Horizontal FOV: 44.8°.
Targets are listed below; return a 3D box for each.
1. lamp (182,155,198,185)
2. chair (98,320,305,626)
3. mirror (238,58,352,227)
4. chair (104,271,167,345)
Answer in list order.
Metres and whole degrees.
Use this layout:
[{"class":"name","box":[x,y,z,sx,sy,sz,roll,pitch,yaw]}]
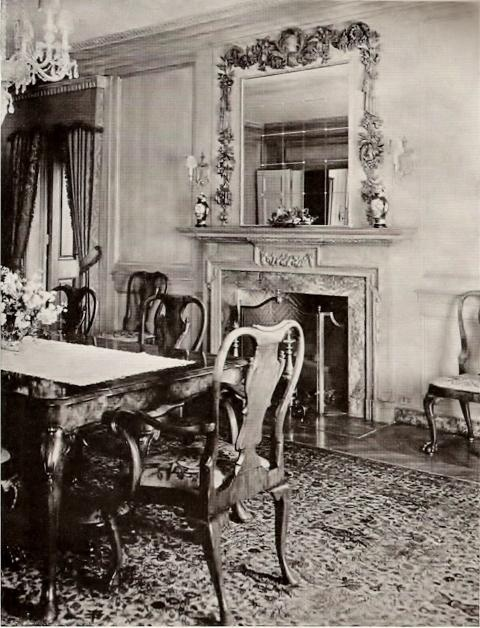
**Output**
[{"class":"lamp","box":[-0.432,-1.297,5.084,0.108,0.246,0.358,0,3,-5]},{"class":"chair","box":[-0.010,0.457,1.784,0.523,0.874,0.283,-3,4,-44]},{"class":"mirror","box":[0.452,-1.350,4.490,1.149,1.895,0.071,1,1,41]},{"class":"chair","box":[-0.911,-0.048,5.634,0.401,0.671,0.423,13,7,43]}]
